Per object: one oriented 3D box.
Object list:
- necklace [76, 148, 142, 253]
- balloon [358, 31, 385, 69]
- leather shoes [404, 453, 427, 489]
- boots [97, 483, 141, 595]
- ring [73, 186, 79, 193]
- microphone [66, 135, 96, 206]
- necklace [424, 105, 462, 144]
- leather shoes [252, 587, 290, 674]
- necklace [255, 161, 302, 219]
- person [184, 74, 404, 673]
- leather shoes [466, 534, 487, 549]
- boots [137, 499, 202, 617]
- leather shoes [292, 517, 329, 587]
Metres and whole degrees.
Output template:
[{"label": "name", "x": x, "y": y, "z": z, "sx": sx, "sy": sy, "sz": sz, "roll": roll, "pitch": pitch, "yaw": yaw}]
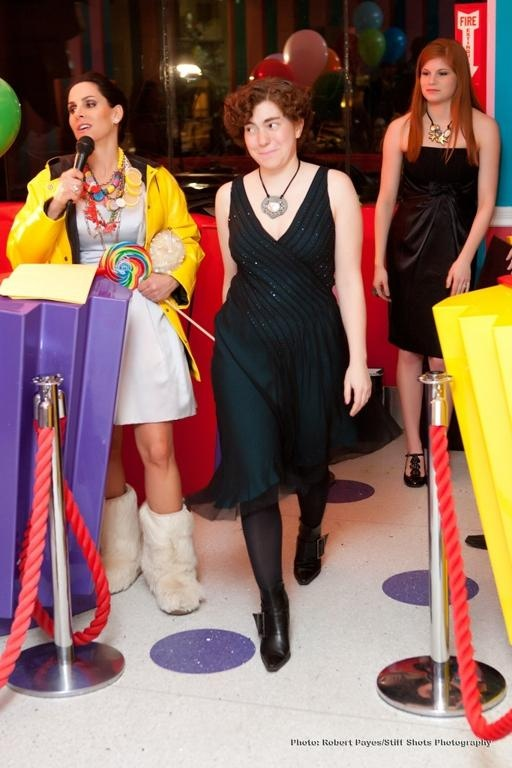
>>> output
[{"label": "necklace", "x": -0.415, "y": -0.505, "z": 1.804, "sx": 0.158, "sy": 0.268, "sz": 0.094, "roll": -2, "pitch": 2, "yaw": -4}, {"label": "balloon", "x": 1.185, "y": -3.459, "z": 6.616, "sx": 0.304, "sy": 0.378, "sz": 0.317, "roll": -5, "pitch": 51, "yaw": 12}, {"label": "leather shoes", "x": 0.734, "y": 0.403, "z": 2.968, "sx": 0.069, "sy": 0.072, "sz": 0.205, "roll": -1, "pitch": 11, "yaw": 5}, {"label": "boots", "x": -0.444, "y": 0.501, "z": 2.028, "sx": 0.144, "sy": 0.271, "sz": 0.284, "roll": 2, "pitch": 8, "yaw": 3}, {"label": "ring", "x": -0.464, "y": -0.504, "z": 1.652, "sx": 0.003, "sy": 0.014, "sz": 0.015, "roll": 3, "pitch": 1, "yaw": 41}, {"label": "microphone", "x": -0.476, "y": -0.626, "z": 1.782, "sx": 0.052, "sy": 0.126, "sz": 0.221, "roll": -3, "pitch": 3, "yaw": -13}, {"label": "necklace", "x": 0.804, "y": -1.115, "z": 2.738, "sx": 0.129, "sy": 0.158, "sz": 0.034, "roll": 0, "pitch": 12, "yaw": 17}, {"label": "leather shoes", "x": 0.045, "y": 0.603, "z": 1.564, "sx": 0.063, "sy": 0.132, "sz": 0.184, "roll": -10, "pitch": 5, "yaw": 9}, {"label": "necklace", "x": 0.060, "y": -0.502, "z": 1.665, "sx": 0.117, "sy": 0.155, "sz": 0.073, "roll": -1, "pitch": 3, "yaw": 7}, {"label": "person", "x": 0.073, "y": -0.051, "z": 1.710, "sx": 0.400, "sy": 1.430, "sz": 0.329, "roll": -4, "pitch": 4, "yaw": -35}, {"label": "leather shoes", "x": 0.779, "y": 0.559, "z": 2.288, "sx": 0.065, "sy": 0.034, "sz": 0.151, "roll": -1, "pitch": 3, "yaw": 16}, {"label": "boots", "x": -0.260, "y": 0.517, "z": 1.952, "sx": 0.139, "sy": 0.248, "sz": 0.373, "roll": -2, "pitch": 13, "yaw": -18}, {"label": "leather shoes", "x": 0.168, "y": 0.542, "z": 2.049, "sx": 0.077, "sy": 0.128, "sz": 0.195, "roll": 1, "pitch": 16, "yaw": 14}]
